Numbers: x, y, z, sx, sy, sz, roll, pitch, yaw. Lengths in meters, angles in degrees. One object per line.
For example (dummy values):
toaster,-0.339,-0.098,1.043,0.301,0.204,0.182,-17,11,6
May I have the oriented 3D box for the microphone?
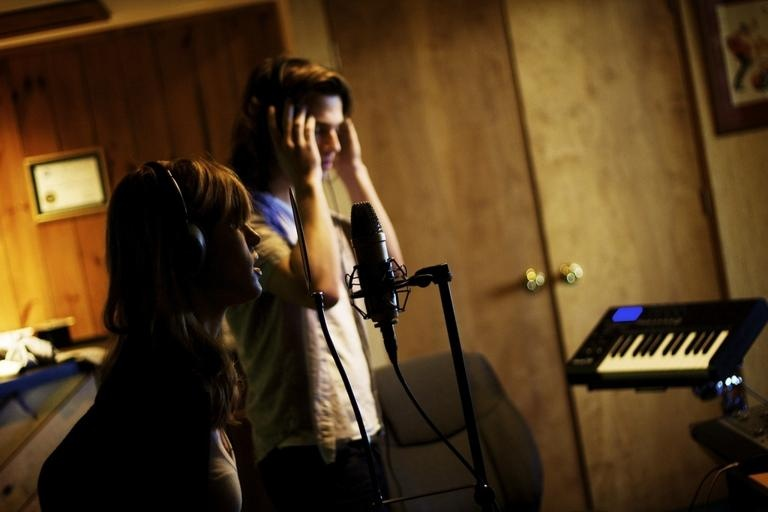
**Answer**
microphone,-0.028,0.019,1.699,0.144,0.314,0.172,-8,6,-3
